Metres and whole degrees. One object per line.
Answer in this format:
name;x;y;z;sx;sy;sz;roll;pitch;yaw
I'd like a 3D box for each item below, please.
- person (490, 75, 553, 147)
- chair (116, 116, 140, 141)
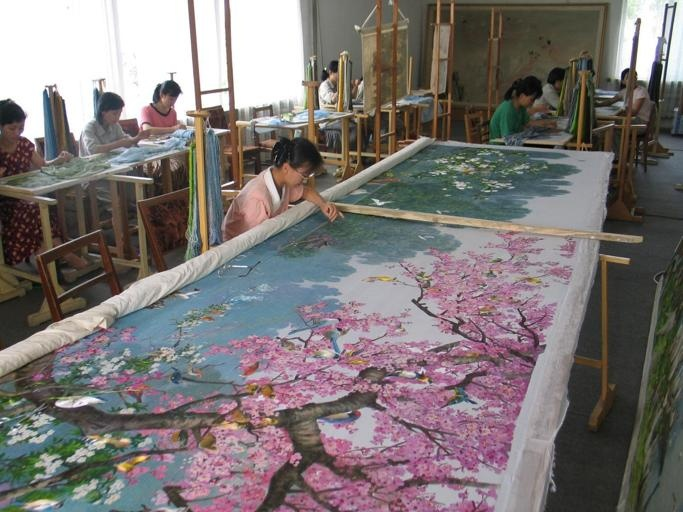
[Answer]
person;1.851;-1.543;5.199;0.599;0.650;0.984;10;23;32
chair;-2.171;-1.298;5.078;0.199;0.239;0.176;12;27;37
